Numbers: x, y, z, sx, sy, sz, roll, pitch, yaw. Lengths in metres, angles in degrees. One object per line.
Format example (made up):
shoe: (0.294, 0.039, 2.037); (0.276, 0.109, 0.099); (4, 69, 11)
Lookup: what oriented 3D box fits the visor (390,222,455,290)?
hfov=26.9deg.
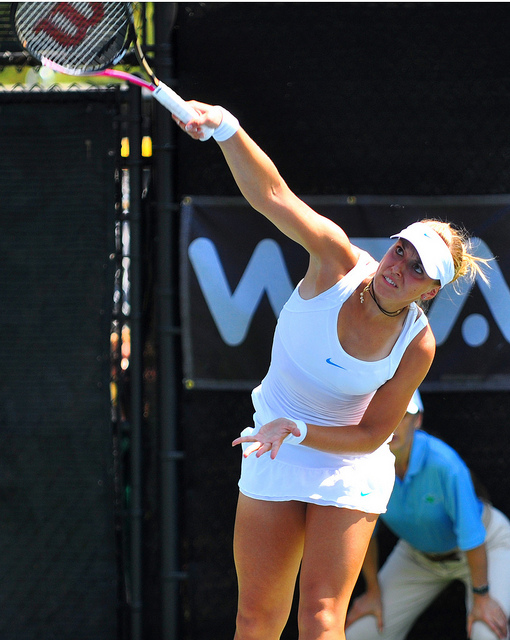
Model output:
visor: (0.572, -0.200, 3.533); (0.069, 0.209, 0.149); (-38, 58, -7)

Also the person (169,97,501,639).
person: (0.136, 0.561, 3.776); (1.022, 2.222, 0.926); (6, 31, -11)

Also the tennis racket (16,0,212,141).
tennis racket: (-0.551, -1.011, 4.258); (0.699, 0.289, 0.061); (16, 16, -25)
